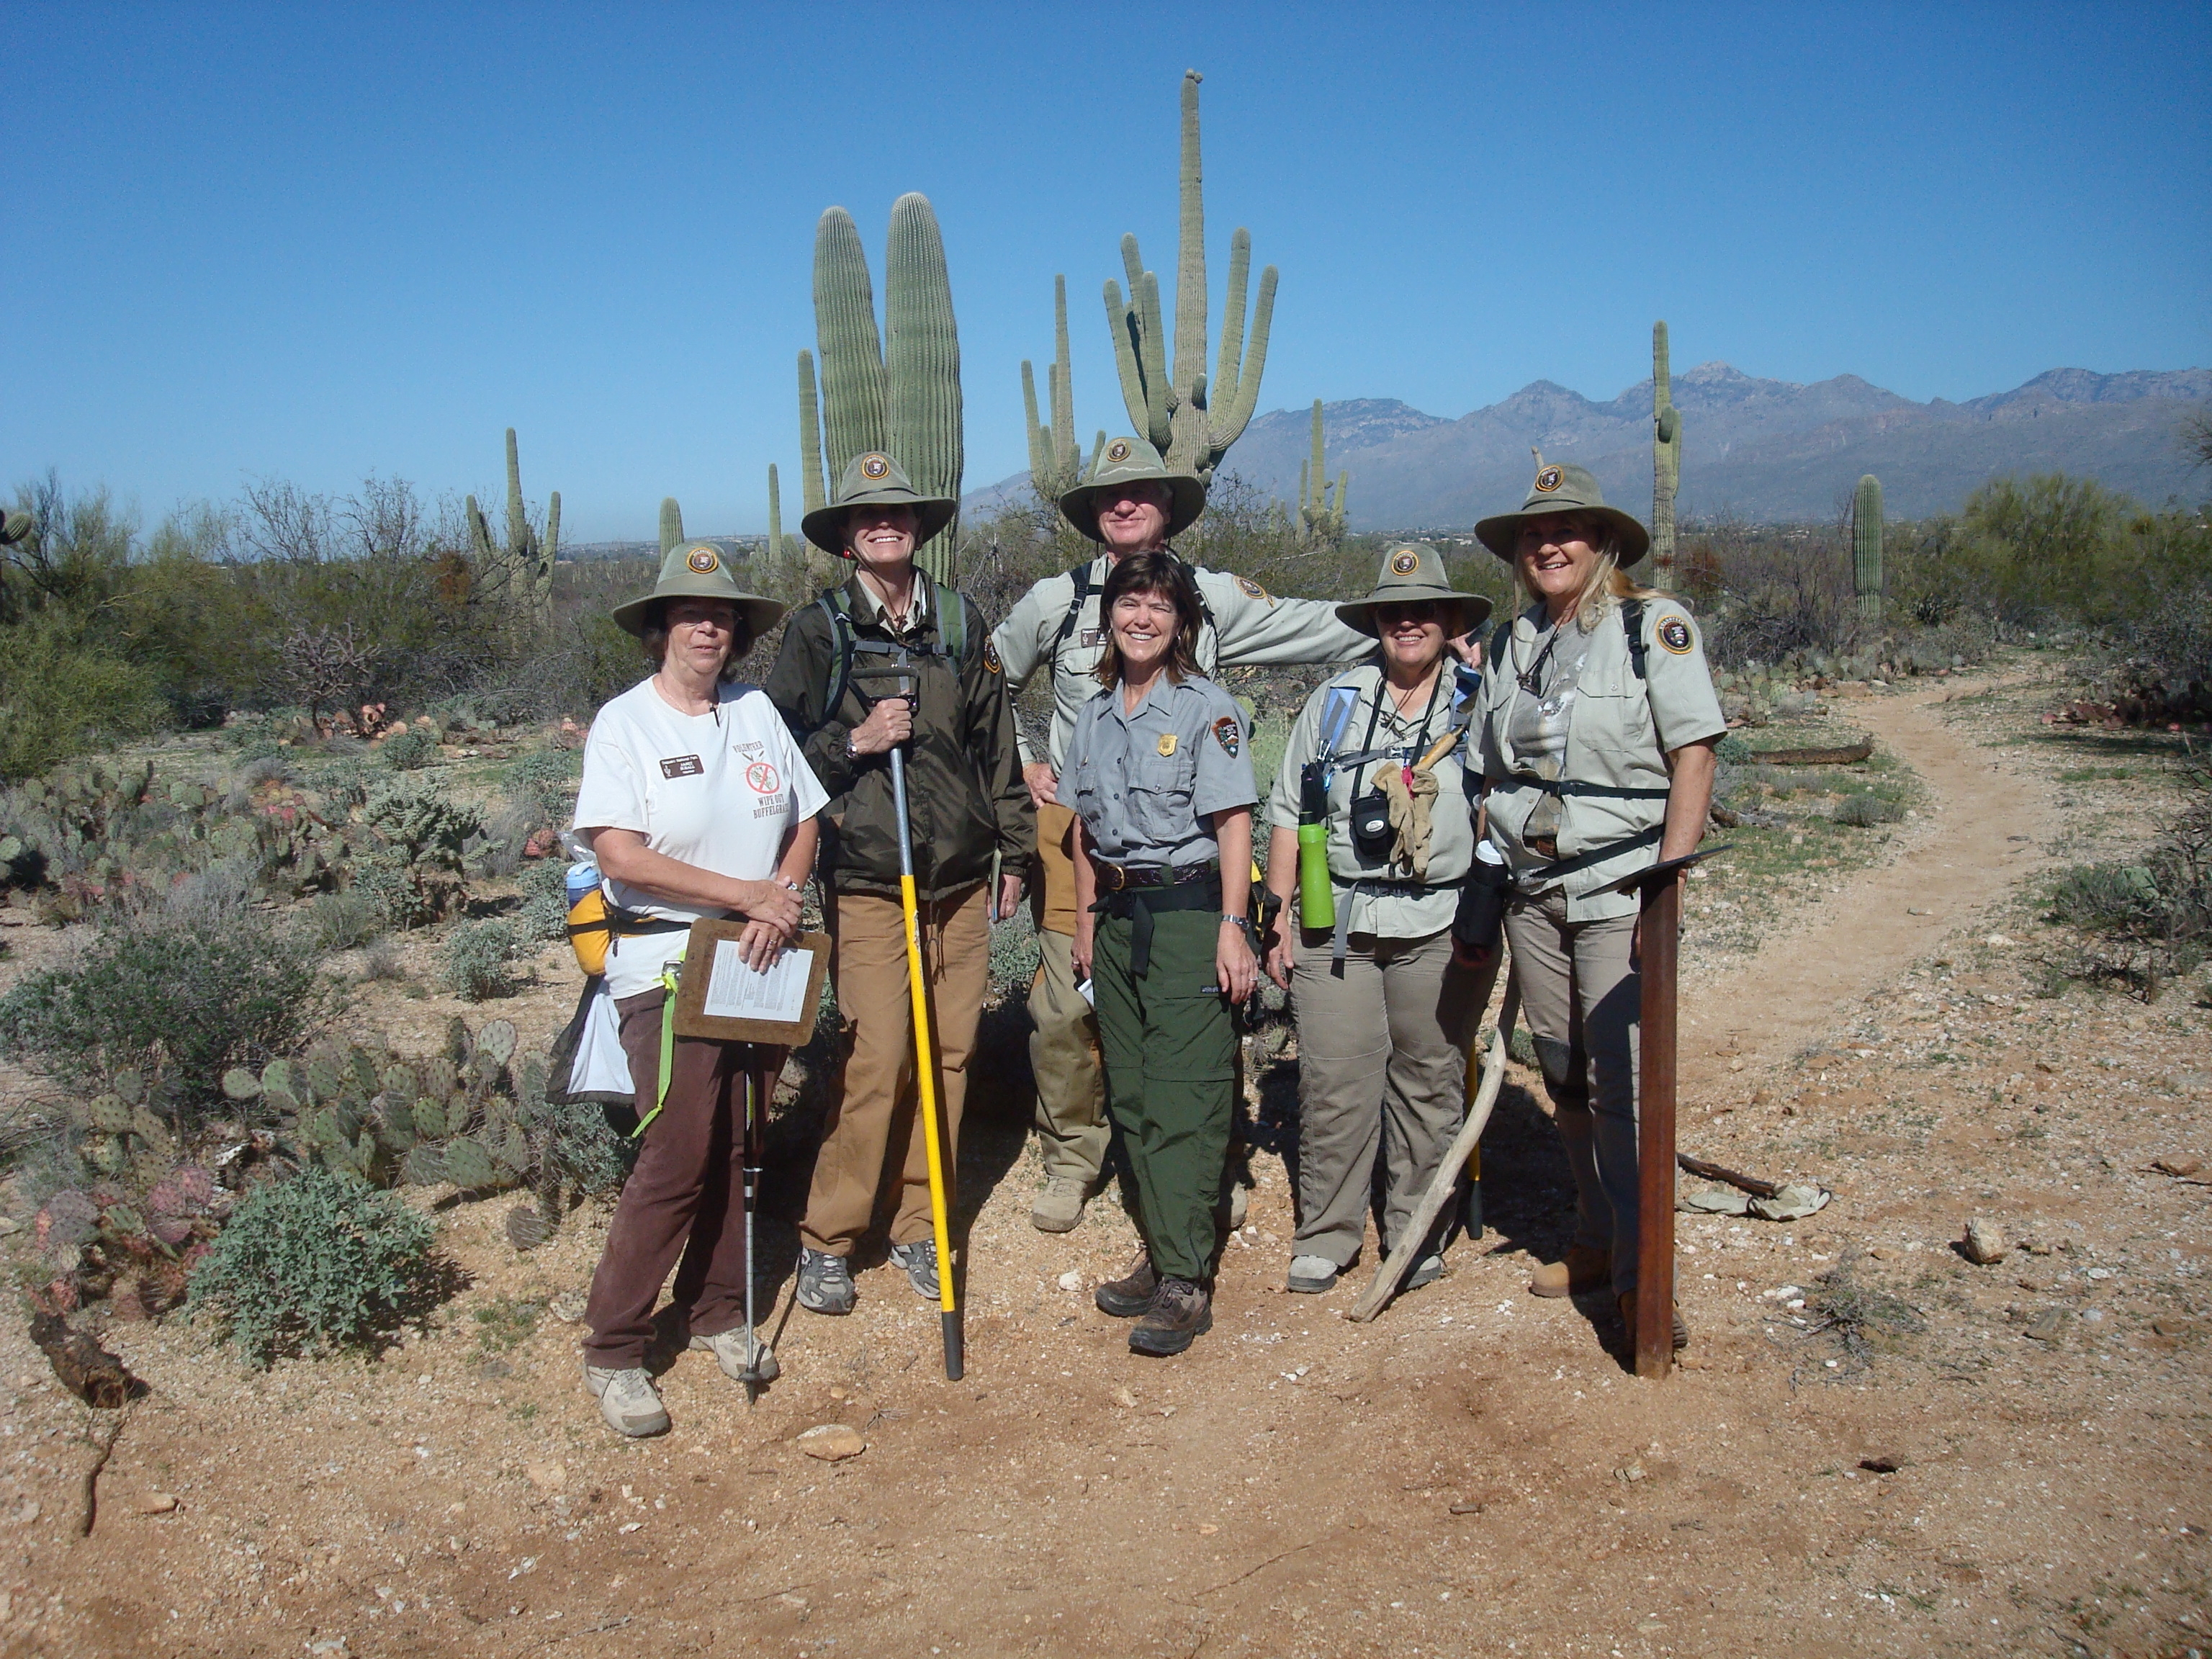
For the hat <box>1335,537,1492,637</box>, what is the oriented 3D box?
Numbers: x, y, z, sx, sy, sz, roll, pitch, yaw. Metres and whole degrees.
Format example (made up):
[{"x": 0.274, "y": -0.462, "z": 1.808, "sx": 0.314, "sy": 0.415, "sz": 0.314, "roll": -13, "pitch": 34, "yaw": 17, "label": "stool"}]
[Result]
[{"x": 1.084, "y": -0.828, "z": 5.758, "sx": 0.345, "sy": 0.192, "sz": 0.380, "roll": 0, "pitch": -19, "yaw": 11, "label": "hat"}]

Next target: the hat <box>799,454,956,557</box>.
[{"x": -0.802, "y": -1.240, "z": 6.110, "sx": 0.492, "sy": 0.269, "sz": 0.520, "roll": -4, "pitch": 2, "yaw": 32, "label": "hat"}]

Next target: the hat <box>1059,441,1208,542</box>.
[{"x": 0.099, "y": -1.343, "z": 6.395, "sx": 0.549, "sy": 0.380, "sz": 0.641, "roll": -2, "pitch": 11, "yaw": 0, "label": "hat"}]

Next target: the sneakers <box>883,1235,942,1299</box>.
[{"x": -0.749, "y": 1.687, "z": 6.201, "sx": 0.113, "sy": 0.143, "sz": 0.286, "roll": -4, "pitch": 4, "yaw": -33, "label": "sneakers"}]

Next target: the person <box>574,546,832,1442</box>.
[{"x": -1.424, "y": 0.512, "z": 5.563, "sx": 0.987, "sy": 2.922, "sz": 0.659, "roll": -8, "pitch": 12, "yaw": -30, "label": "person"}]

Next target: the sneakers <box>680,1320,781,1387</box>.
[{"x": -1.335, "y": 1.847, "z": 5.770, "sx": 0.332, "sy": 0.160, "sz": 0.149, "roll": 4, "pitch": 6, "yaw": 36, "label": "sneakers"}]

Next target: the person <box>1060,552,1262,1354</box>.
[{"x": 0.234, "y": 0.430, "z": 5.884, "sx": 0.575, "sy": 2.835, "sz": 0.673, "roll": -4, "pitch": 11, "yaw": -11, "label": "person"}]

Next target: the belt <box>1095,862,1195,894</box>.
[{"x": 0.120, "y": 0.172, "z": 5.877, "sx": 0.422, "sy": 0.115, "sz": 0.118, "roll": 6, "pitch": 13, "yaw": 35, "label": "belt"}]

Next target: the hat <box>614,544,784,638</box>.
[{"x": -1.394, "y": -0.815, "z": 5.542, "sx": 0.371, "sy": 0.193, "sz": 0.389, "roll": 1, "pitch": 7, "yaw": -8, "label": "hat"}]

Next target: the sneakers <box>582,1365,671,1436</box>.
[{"x": -1.593, "y": 1.912, "z": 5.407, "sx": 0.158, "sy": 0.128, "sz": 0.287, "roll": -7, "pitch": 13, "yaw": -37, "label": "sneakers"}]

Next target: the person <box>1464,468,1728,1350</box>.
[{"x": 1.623, "y": 0.250, "z": 5.501, "sx": 0.426, "sy": 2.890, "sz": 0.817, "roll": -11, "pitch": 14, "yaw": -40, "label": "person"}]

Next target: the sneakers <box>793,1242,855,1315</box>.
[{"x": -1.066, "y": 1.705, "z": 6.070, "sx": 0.139, "sy": 0.208, "sz": 0.296, "roll": 5, "pitch": -10, "yaw": -24, "label": "sneakers"}]

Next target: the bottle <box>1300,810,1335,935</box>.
[{"x": 0.741, "y": 0.206, "z": 5.774, "sx": 0.114, "sy": 0.443, "sz": 0.143, "roll": 0, "pitch": 11, "yaw": 9, "label": "bottle"}]
